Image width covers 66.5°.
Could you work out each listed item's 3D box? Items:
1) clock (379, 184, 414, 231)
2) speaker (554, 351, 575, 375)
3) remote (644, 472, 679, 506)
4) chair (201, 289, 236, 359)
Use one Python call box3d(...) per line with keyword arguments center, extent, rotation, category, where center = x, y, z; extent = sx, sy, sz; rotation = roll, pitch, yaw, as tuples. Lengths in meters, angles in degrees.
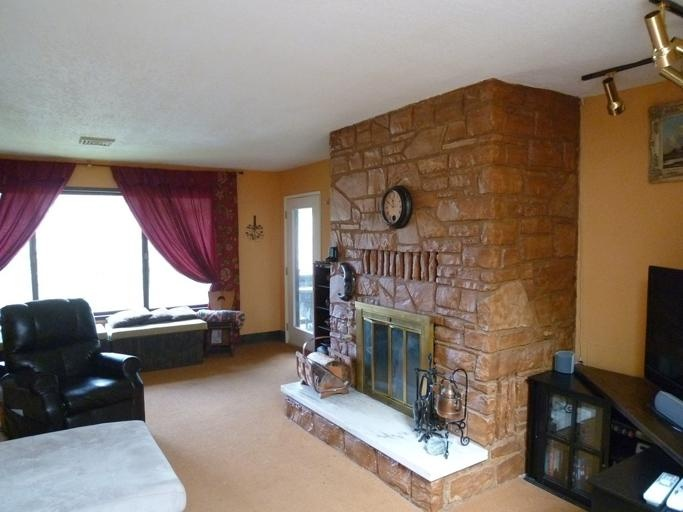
box3d(center=(0.463, -0.405, 4.347), extent=(0.127, 0.369, 0.334), rotation=(-6, 11, -26), category="clock")
box3d(center=(1.706, 0.802, 4.007), extent=(0.150, 0.157, 0.159), rotation=(-2, 7, -34), category="speaker")
box3d(center=(1.853, 1.307, 3.015), extent=(0.103, 0.046, 0.319), rotation=(-3, 9, 41), category="remote")
box3d(center=(-1.593, 0.882, 6.918), extent=(0.419, 0.855, 0.560), rotation=(-3, 10, -12), category="chair")
